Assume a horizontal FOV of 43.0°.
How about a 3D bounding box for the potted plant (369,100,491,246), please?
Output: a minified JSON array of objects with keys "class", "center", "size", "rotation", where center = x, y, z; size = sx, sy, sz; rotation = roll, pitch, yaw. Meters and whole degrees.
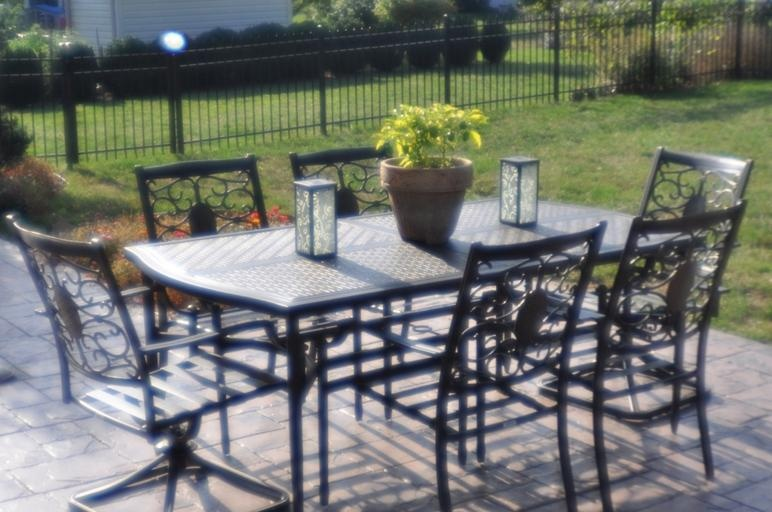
[{"class":"potted plant","center":[0.213,-0.552,6.696],"size":[0.989,1.067,0.855],"rotation":[-1,6,-10]}]
